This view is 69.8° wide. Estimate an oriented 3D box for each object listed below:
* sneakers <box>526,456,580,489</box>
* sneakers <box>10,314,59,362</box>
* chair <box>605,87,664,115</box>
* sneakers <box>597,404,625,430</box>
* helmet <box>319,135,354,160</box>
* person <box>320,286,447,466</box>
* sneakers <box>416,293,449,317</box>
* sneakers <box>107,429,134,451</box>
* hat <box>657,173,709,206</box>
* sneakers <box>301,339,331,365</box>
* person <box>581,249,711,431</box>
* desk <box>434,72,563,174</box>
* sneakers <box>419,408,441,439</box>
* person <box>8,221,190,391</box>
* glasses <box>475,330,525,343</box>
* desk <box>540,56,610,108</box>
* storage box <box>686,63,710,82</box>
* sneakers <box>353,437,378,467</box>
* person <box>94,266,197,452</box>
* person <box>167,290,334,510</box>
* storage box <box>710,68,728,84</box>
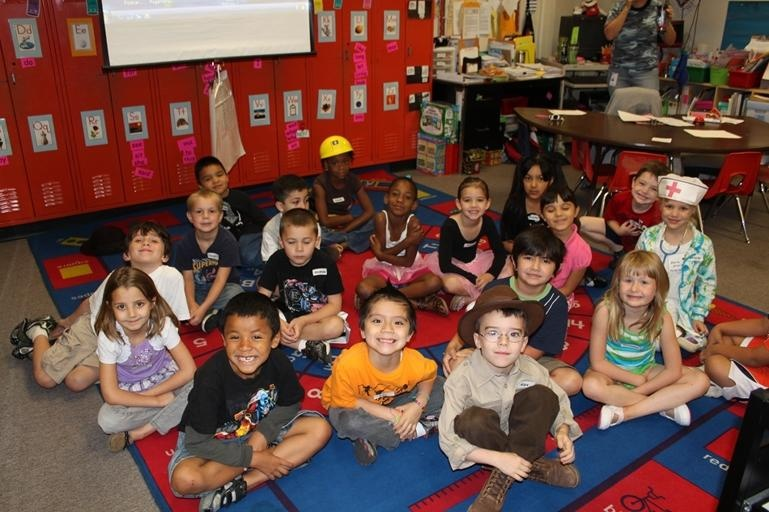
[{"bbox_3d":[0.816,1.038,2.728,0.300,0.104,0.183,2,-8,9],"label":"sneakers"},{"bbox_3d":[-2.201,0.526,3.458,0.383,0.163,0.128,-22,32,-36],"label":"sneakers"},{"bbox_3d":[2.592,-1.600,5.711,0.602,0.365,0.334,5,23,16],"label":"chair"},{"bbox_3d":[1.222,0.877,2.977,0.160,0.090,0.056,-25,18,-29],"label":"sneakers"},{"bbox_3d":[-0.452,-0.954,4.792,0.223,0.118,0.263,-10,13,-20],"label":"helmet"},{"bbox_3d":[-0.028,0.571,2.824,0.643,0.820,0.741,11,14,41],"label":"person"},{"bbox_3d":[0.325,0.322,3.888,0.122,0.095,0.283,-25,35,-39],"label":"sneakers"},{"bbox_3d":[-1.392,0.973,2.890,0.049,0.123,0.077,7,1,14],"label":"sneakers"},{"bbox_3d":[1.905,-0.437,3.551,0.219,0.120,0.250,14,11,22],"label":"hat"},{"bbox_3d":[-0.407,0.587,3.422,0.224,0.087,0.100,13,16,21],"label":"sneakers"},{"bbox_3d":[1.518,0.506,3.137,0.661,0.859,0.695,-10,25,7],"label":"person"},{"bbox_3d":[1.251,-1.537,6.397,1.578,0.974,0.723,-13,34,-20],"label":"desk"},{"bbox_3d":[0.241,0.890,2.960,0.165,0.063,0.090,-29,35,-36],"label":"sneakers"},{"bbox_3d":[-1.626,0.294,3.251,1.158,0.829,0.665,-2,26,-18],"label":"person"},{"bbox_3d":[0.563,0.379,2.646,0.200,0.063,0.050,0,25,6],"label":"glasses"},{"bbox_3d":[2.679,-2.378,7.611,1.040,0.639,0.673,1,37,-3],"label":"desk"},{"bbox_3d":[4.142,-2.415,7.308,0.239,0.302,0.440,8,19,26],"label":"storage box"},{"bbox_3d":[-0.098,0.994,2.812,0.112,0.124,0.077,-3,25,-1],"label":"sneakers"},{"bbox_3d":[-1.239,0.492,2.825,0.553,0.781,0.644,-6,18,-9],"label":"person"},{"bbox_3d":[-0.670,0.763,2.797,0.733,0.746,0.522,-18,39,-35],"label":"person"},{"bbox_3d":[4.285,-2.311,7.113,0.213,0.195,0.207,-2,12,-3],"label":"storage box"}]
